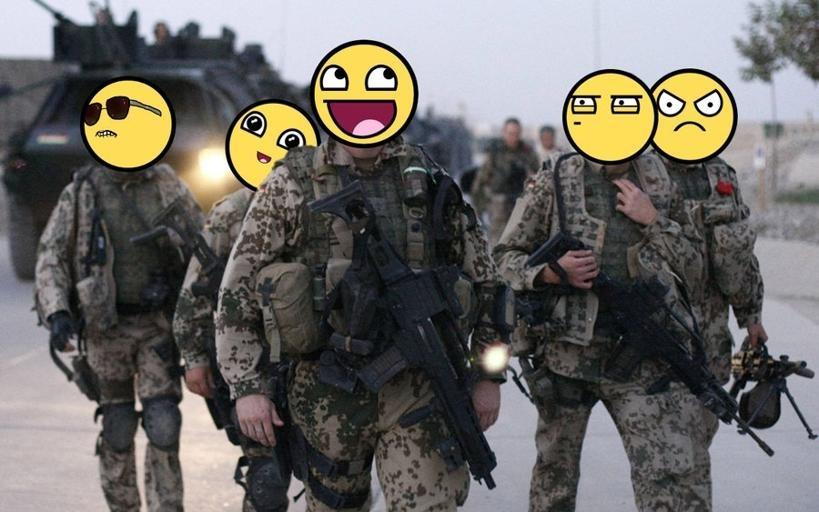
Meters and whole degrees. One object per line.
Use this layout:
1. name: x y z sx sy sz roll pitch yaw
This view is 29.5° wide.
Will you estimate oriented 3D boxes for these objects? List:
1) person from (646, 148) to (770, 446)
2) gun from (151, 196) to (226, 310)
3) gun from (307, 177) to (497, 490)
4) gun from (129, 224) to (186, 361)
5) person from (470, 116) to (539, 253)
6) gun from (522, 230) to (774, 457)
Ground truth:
1. person: 2.277 0.260 11.673 0.828 2.049 0.523 -14 6 -9
2. gun: -1.542 -0.041 11.372 0.370 0.915 0.805 1 -1 5
3. gun: -0.054 0.504 10.287 1.178 2.000 0.411 -1 5 -4
4. gun: -1.862 0.249 11.543 0.365 1.042 0.432 0 -1 -8
5. person: 1.047 -0.907 17.961 0.892 1.952 0.700 5 -2 -12
6. gun: 1.682 0.581 11.148 0.665 2.071 0.277 -42 -3 -10
